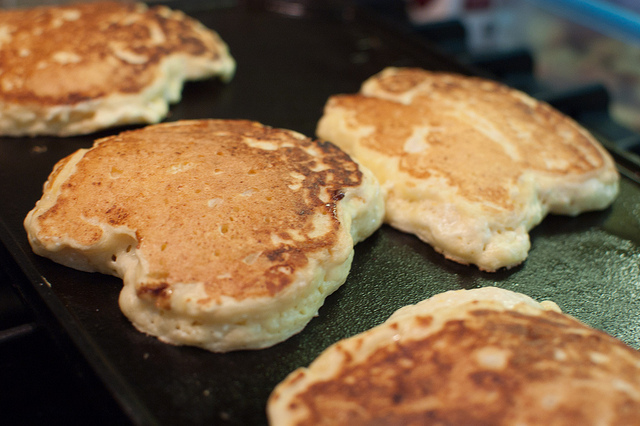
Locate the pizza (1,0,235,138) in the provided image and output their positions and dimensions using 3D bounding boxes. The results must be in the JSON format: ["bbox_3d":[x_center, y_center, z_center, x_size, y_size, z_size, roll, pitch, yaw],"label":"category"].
[{"bbox_3d":[-0.756,-0.544,2.245,0.695,0.144,0.573,-17,46,-30],"label":"pizza"}]

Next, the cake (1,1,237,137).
[{"bbox_3d":[-0.731,-0.532,2.246,0.727,0.145,0.561,-6,32,-26],"label":"cake"}]
